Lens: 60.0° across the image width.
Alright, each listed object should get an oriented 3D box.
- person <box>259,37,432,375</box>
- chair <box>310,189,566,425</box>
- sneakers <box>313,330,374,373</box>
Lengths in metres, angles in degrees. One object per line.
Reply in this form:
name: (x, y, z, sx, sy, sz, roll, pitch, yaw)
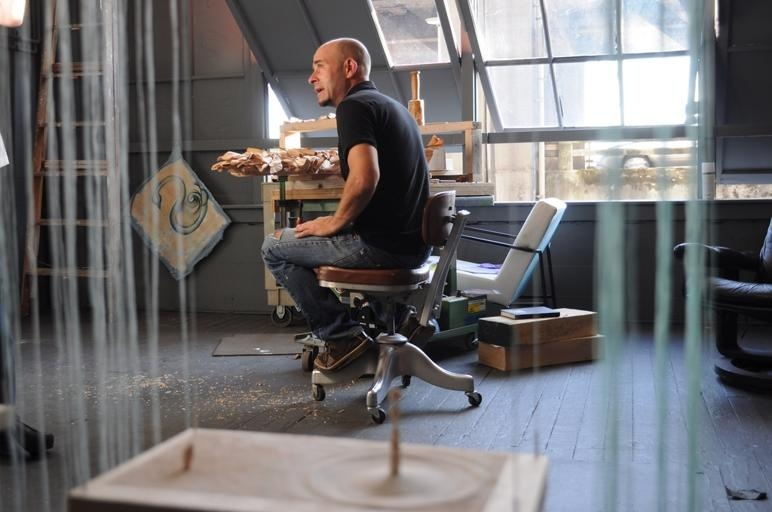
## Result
person: (-0.193, -0.238, 3.277, 0.799, 1.657, 0.404, 0, 7, 3)
chair: (0.440, 0.220, 3.798, 1.567, 1.344, 0.993, 2, 3, 4)
sneakers: (-0.225, 0.492, 3.424, 0.329, 0.152, 0.141, -28, 27, 23)
